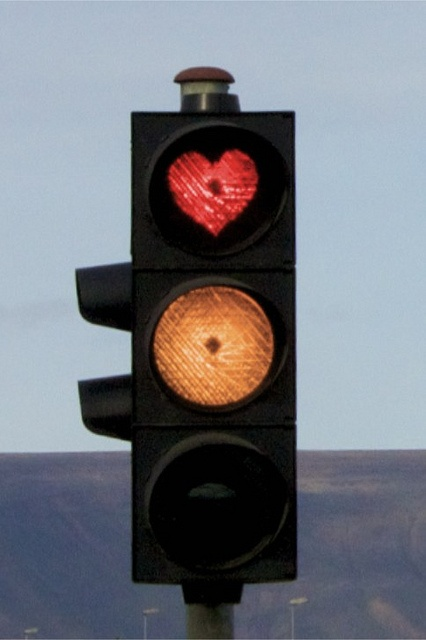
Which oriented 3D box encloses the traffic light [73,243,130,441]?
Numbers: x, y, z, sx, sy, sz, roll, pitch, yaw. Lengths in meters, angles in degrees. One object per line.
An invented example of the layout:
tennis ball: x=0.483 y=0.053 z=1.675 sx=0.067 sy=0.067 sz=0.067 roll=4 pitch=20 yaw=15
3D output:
traffic light: x=-1.863 y=0.539 z=27.484 sx=0.973 sy=2.991 sz=0.767 roll=0 pitch=11 yaw=-4
